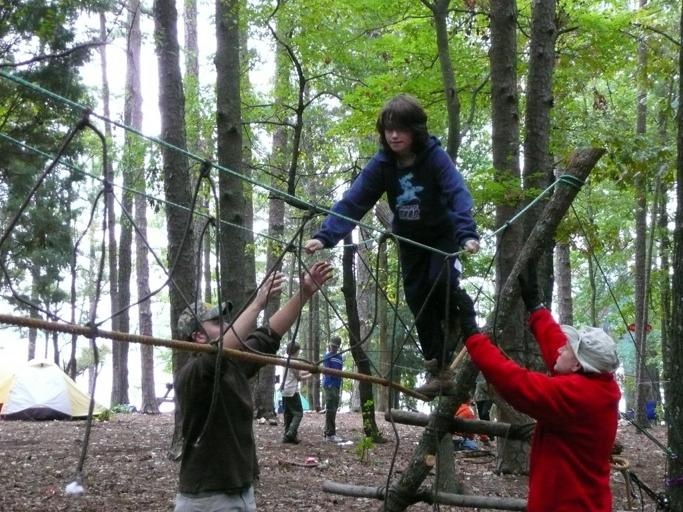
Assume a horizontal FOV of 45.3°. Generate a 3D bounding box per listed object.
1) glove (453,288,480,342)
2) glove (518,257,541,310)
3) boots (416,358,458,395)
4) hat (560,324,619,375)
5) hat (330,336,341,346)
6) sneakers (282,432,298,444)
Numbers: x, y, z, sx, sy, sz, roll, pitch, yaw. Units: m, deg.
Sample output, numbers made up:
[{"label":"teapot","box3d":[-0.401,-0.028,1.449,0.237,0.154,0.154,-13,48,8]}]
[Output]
[{"label":"glove","box3d":[1.220,0.618,8.284,0.272,0.209,0.797,28,33,-13]},{"label":"glove","box3d":[1.934,0.240,8.434,0.239,0.625,0.193,-14,40,-10]},{"label":"boots","box3d":[1.013,1.303,8.611,0.586,0.446,0.226,4,-13,-26]},{"label":"hat","box3d":[2.395,0.906,7.862,0.452,0.410,0.479,10,-10,-30]},{"label":"hat","box3d":[-0.098,1.517,14.514,0.148,0.179,0.180,2,13,-1]},{"label":"sneakers","box3d":[-0.858,3.044,13.683,0.117,0.130,0.310,-6,-33,30]}]
